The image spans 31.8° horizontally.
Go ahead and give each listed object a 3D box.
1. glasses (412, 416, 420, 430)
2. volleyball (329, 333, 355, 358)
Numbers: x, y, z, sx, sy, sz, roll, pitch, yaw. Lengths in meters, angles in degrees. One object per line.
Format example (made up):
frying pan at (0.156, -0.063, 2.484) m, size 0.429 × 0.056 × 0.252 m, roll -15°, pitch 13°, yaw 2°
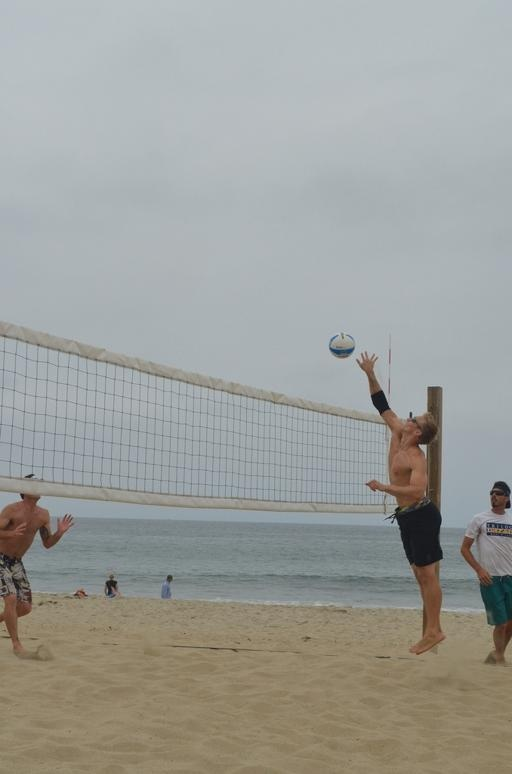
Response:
glasses at (0.983, 0.221, 5.535) m, size 0.040 × 0.073 × 0.049 m, roll 3°, pitch -11°, yaw 0°
volleyball at (0.664, -0.320, 6.924) m, size 0.162 × 0.170 × 0.125 m, roll 3°, pitch -11°, yaw 0°
